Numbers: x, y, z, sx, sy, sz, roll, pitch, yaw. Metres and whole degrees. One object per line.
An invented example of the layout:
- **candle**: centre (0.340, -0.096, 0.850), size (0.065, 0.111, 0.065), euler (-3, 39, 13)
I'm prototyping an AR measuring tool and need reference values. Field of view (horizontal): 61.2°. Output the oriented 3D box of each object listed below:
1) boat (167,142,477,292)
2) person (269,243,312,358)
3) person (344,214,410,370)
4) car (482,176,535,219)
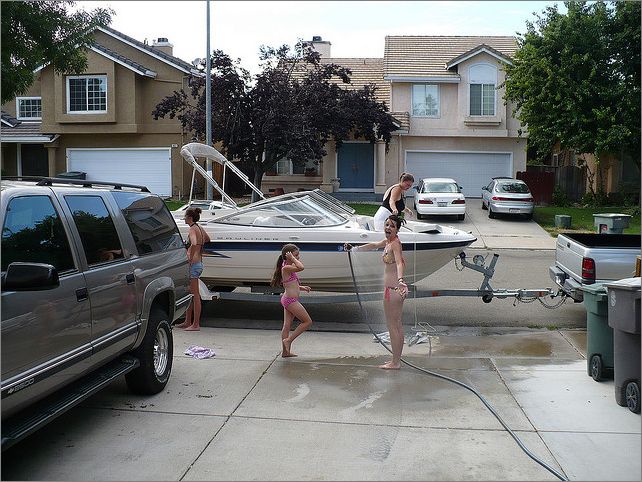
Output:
- **boat**: centre (-0.150, -0.364, 11.038), size (6.484, 3.546, 2.739), euler (1, 2, 12)
- **person**: centre (-0.444, 0.875, 8.044), size (0.552, 1.676, 0.585), euler (-1, 8, -6)
- **person**: centre (0.930, 0.688, 7.847), size (0.579, 2.149, 1.534), euler (0, 8, 2)
- **car**: centre (8.335, -2.065, 24.581), size (1.234, 1.001, 2.917), euler (1, 13, 6)
